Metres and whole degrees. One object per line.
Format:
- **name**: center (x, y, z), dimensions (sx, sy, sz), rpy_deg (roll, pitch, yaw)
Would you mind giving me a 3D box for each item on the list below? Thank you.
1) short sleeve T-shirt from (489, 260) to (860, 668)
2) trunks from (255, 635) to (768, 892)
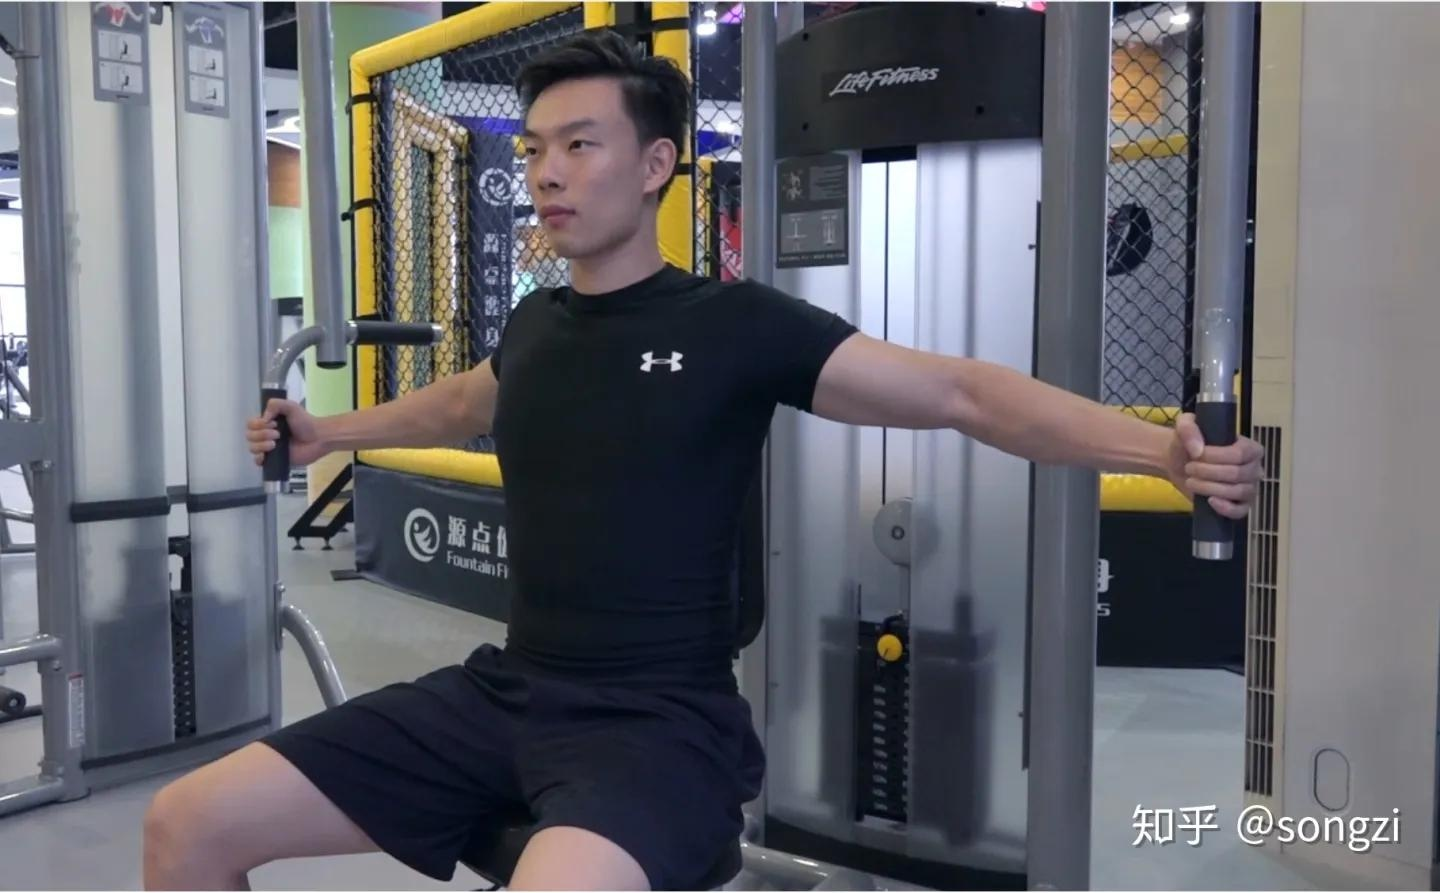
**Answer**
- **short sleeve T-shirt**: center (-0.085, 0.036, 2.756), dimensions (1.128, 0.771, 0.369), rpy_deg (-3, -6, 35)
- **trunks**: center (-0.391, 0.667, 2.534), dimensions (0.606, 0.245, 0.683), rpy_deg (7, 2, 33)
